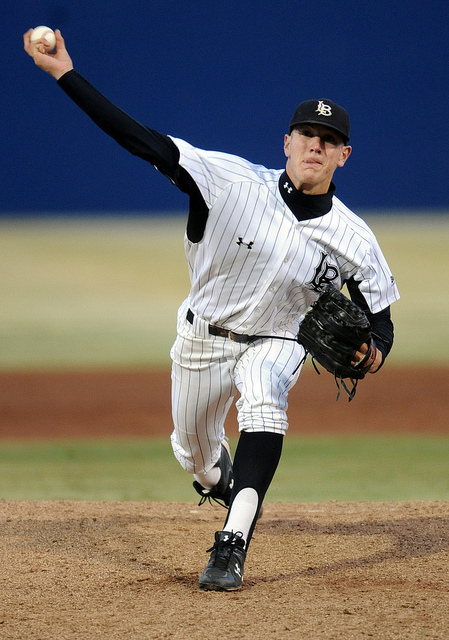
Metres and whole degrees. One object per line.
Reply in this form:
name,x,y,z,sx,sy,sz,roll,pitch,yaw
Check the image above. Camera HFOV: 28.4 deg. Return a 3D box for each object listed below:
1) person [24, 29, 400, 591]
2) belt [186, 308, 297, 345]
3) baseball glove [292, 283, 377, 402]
person,0.065,0.021,2.639,0.764,1.424,0.984,9,-3,20
belt,0.044,0.030,2.705,0.347,0.090,0.142,9,-2,4
baseball glove,0.303,0.059,2.677,0.260,0.322,0.309,-5,9,-22
